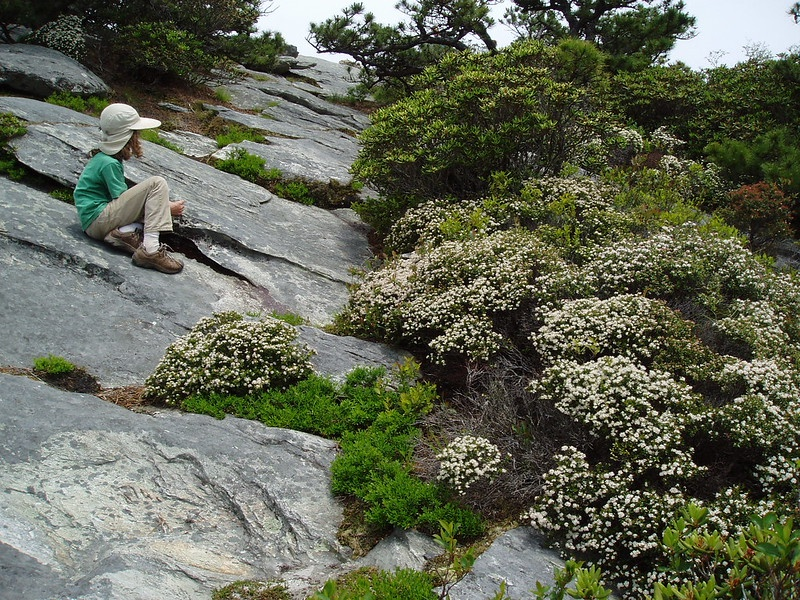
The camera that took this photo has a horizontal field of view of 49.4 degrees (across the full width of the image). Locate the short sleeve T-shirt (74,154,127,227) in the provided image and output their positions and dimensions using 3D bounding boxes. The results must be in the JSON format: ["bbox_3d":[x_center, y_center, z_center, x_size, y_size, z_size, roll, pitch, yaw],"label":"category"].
[{"bbox_3d":[-4.673,-1.686,13.564,0.758,1.232,1.069,-1,1,-36],"label":"short sleeve T-shirt"}]

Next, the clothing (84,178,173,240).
[{"bbox_3d":[-4.300,-1.383,13.790,1.430,0.906,1.694,-3,-3,-32],"label":"clothing"}]

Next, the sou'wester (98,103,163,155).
[{"bbox_3d":[-4.225,-2.700,13.376,0.649,0.972,0.552,29,-34,35],"label":"sou'wester"}]
